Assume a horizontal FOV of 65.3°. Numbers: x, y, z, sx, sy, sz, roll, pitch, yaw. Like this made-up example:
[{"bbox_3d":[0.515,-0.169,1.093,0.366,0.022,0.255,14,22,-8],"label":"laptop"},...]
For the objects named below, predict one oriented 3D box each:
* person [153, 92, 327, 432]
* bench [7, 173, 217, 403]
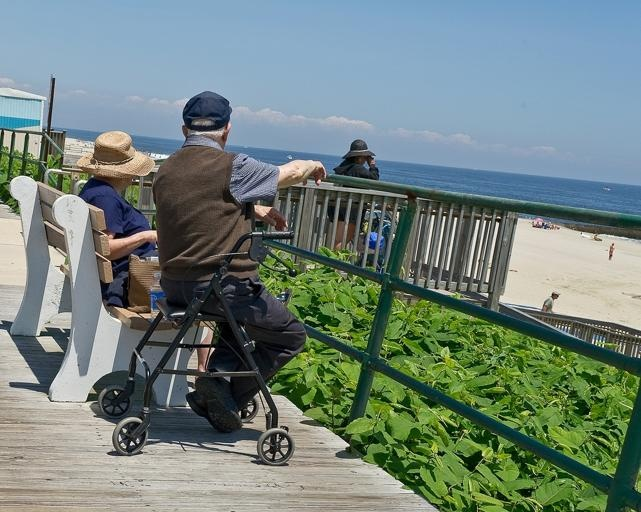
[{"bbox_3d":[-0.475,0.076,2.587,0.788,1.819,0.523,9,8,-34],"label":"person"},{"bbox_3d":[-1.629,0.097,3.803,1.314,1.150,2.248,2,11,-40],"label":"bench"}]
